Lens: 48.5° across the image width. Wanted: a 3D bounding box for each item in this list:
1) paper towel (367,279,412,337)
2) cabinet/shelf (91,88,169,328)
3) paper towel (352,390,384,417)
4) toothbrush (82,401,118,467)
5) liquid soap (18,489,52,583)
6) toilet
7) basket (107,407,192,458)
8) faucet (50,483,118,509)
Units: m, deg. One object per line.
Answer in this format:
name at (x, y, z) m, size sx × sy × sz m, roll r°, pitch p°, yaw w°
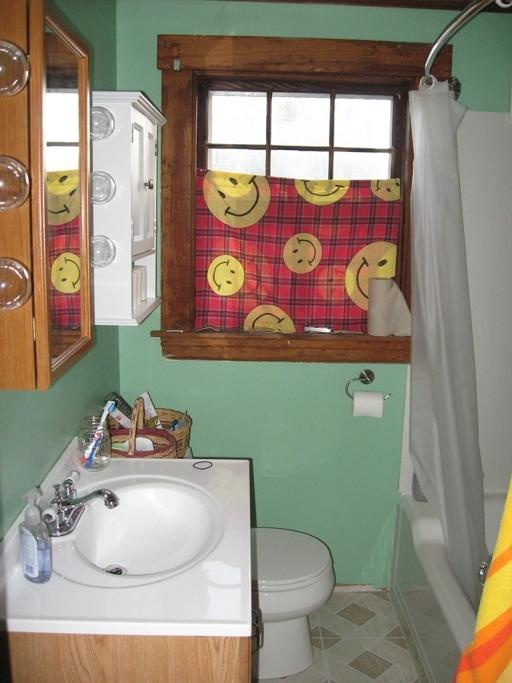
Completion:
paper towel at (0.496, -0.122, 2.119) m, size 0.166 × 0.221 × 0.102 m, roll 7°, pitch 11°, yaw 15°
cabinet/shelf at (-0.391, -0.391, 1.774) m, size 0.193 × 0.679 × 0.536 m, roll 3°, pitch 11°, yaw -9°
paper towel at (0.413, 0.234, 2.089) m, size 0.109 × 0.098 × 0.090 m, roll 2°, pitch -10°, yaw 1°
toothbrush at (-0.432, 0.228, 1.577) m, size 0.059 × 0.226 × 0.060 m, roll 18°, pitch -6°, yaw 5°
liquid soap at (-0.426, 0.375, 1.108) m, size 0.063 × 0.178 × 0.113 m, roll 0°, pitch 12°, yaw -22°
toilet at (0.127, 0.906, 2.003) m, size 0.368 × 0.380 × 0.393 m, roll -2°, pitch 9°, yaw 0°
basket at (-0.356, 0.303, 1.869) m, size 0.235 × 0.112 × 0.301 m, roll 0°, pitch 5°, yaw 1°
faucet at (-0.372, 0.347, 1.271) m, size 0.103 × 0.044 × 0.074 m, roll 4°, pitch 9°, yaw 6°
